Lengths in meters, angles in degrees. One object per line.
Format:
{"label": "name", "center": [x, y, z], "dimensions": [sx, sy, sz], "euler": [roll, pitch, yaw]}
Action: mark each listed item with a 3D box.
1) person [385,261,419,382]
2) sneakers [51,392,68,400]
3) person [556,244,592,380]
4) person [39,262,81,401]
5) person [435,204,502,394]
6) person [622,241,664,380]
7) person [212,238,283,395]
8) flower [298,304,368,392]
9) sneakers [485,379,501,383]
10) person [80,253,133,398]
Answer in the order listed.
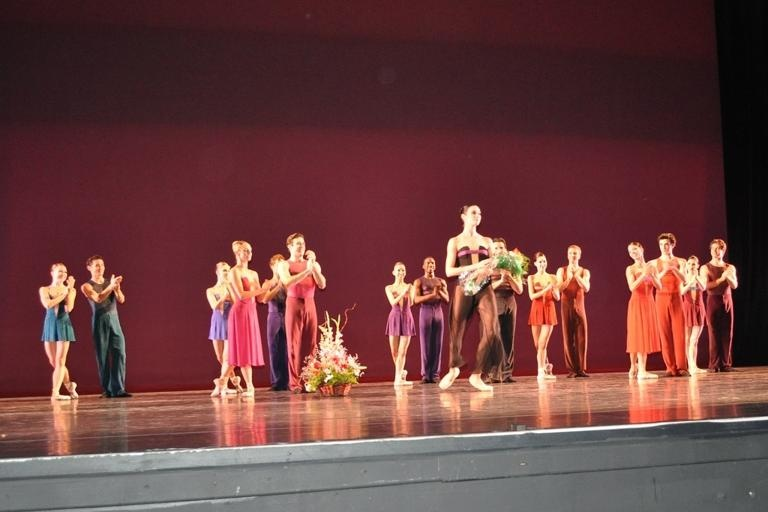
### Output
{"label": "person", "center": [0.225, 0.907, 11.043], "dimensions": [0.398, 1.716, 0.758], "euler": [-2, -6, 1]}
{"label": "sneakers", "center": [-4.131, 1.777, 10.120], "dimensions": [0.139, 0.053, 0.126], "euler": [-9, 2, -41]}
{"label": "person", "center": [2.720, 0.789, 11.345], "dimensions": [0.441, 1.841, 0.408], "euler": [-4, -6, 14]}
{"label": "person", "center": [-4.158, 0.959, 10.218], "dimensions": [0.462, 1.730, 0.423], "euler": [-2, -6, -3]}
{"label": "person", "center": [0.999, 0.476, 9.143], "dimensions": [0.592, 2.153, 0.716], "euler": [1, -7, -27]}
{"label": "person", "center": [3.515, 0.738, 10.876], "dimensions": [0.429, 1.824, 0.838], "euler": [-4, -7, 19]}
{"label": "person", "center": [-1.787, 0.808, 10.191], "dimensions": [0.633, 1.922, 1.186], "euler": [-2, -7, 1]}
{"label": "flower", "center": [-0.587, 1.215, 9.549], "dimensions": [0.566, 0.641, 0.490], "euler": [2, -15, -21]}
{"label": "sneakers", "center": [1.440, 1.646, 10.462], "dimensions": [0.111, 0.044, 0.117], "euler": [1, -6, 2]}
{"label": "person", "center": [-3.632, 0.920, 10.452], "dimensions": [0.603, 1.847, 0.549], "euler": [1, -7, -28]}
